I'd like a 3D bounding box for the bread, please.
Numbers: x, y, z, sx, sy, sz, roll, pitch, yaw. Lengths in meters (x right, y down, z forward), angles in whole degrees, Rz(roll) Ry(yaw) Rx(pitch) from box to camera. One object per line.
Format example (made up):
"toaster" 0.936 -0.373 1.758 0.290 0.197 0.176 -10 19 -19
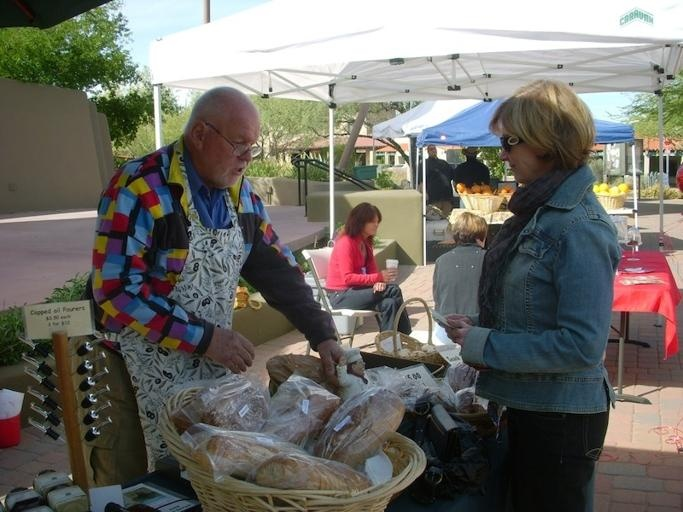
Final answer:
"bread" -0.193 0.552 1.694 0.437 0.143 0.366 9 4 23

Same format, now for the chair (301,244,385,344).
"chair" -0.032 0.498 6.806 1.152 1.476 1.101 2 5 29

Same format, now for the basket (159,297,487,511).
"basket" -0.010 0.536 2.292 0.848 0.510 0.831 0 -3 -3

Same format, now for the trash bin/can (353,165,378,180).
"trash bin/can" 1.097 -3.746 24.360 0.722 0.625 2.529 3 11 19

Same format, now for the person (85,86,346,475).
"person" -0.630 0.363 2.556 0.955 1.958 0.898 -3 23 -30

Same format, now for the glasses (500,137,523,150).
"glasses" 0.648 -0.421 2.043 0.057 0.024 0.055 3 6 2

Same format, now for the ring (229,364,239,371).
"ring" -0.427 0.446 2.129 0.026 0.025 0.025 2 -1 0
